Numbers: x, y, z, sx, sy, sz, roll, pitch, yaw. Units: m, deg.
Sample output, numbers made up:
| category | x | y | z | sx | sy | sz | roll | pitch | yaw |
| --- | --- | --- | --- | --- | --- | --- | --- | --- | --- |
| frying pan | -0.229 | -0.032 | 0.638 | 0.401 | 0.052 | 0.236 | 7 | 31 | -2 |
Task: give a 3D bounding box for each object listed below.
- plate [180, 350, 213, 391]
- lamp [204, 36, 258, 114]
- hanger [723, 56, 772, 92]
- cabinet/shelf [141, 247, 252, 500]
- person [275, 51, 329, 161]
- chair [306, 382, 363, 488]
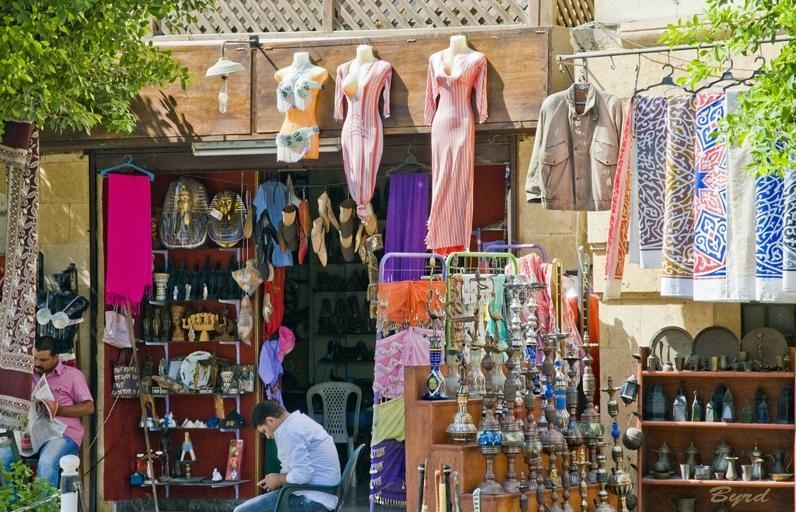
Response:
| category | x | y | z | sx | sy | sz | roll | pitch | yaw |
| --- | --- | --- | --- | --- | --- | --- | --- | --- | --- |
| plate | -2.068 | 1.185 | 17.575 | 0.350 | 0.371 | 0.179 | -2 | 7 | -1 |
| lamp | -1.585 | -1.729 | 16.230 | 0.431 | 0.881 | 0.373 | 2 | 1 | -16 |
| hanger | 2.987 | -1.549 | 14.774 | 0.410 | 0.298 | 1.719 | -1 | 7 | 12 |
| cabinet/shelf | -2.035 | 1.222 | 17.609 | 1.083 | 2.566 | 0.642 | -1 | 3 | 10 |
| person | -0.904 | -1.394 | 16.191 | 0.515 | 1.009 | 0.326 | -2 | 7 | -2 |
| chair | -0.643 | 1.798 | 17.919 | 0.441 | 0.895 | 0.667 | 2 | -1 | -3 |
